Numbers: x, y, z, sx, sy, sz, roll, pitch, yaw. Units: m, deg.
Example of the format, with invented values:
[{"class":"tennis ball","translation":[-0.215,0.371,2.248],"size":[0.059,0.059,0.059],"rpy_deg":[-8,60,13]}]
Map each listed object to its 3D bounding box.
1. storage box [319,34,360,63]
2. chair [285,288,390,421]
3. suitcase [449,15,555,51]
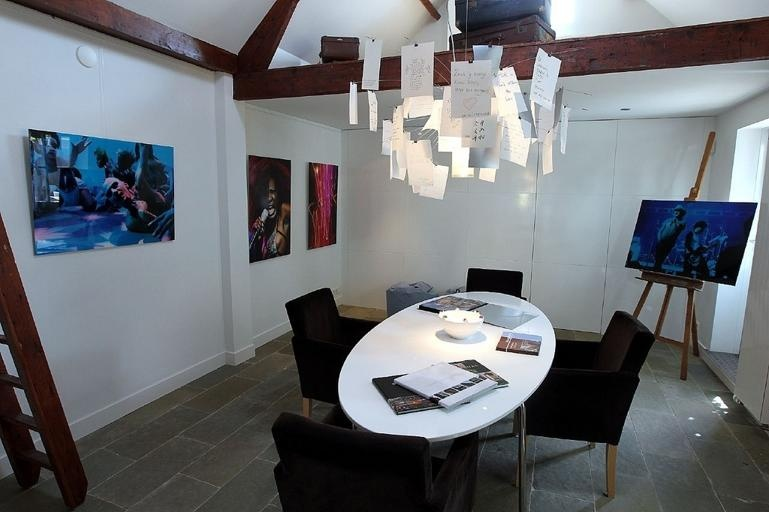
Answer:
[{"class":"storage box","translation":[-0.457,-2.081,4.839],"size":[0.296,0.273,0.403],"rpy_deg":[1,19,3]},{"class":"chair","translation":[-0.516,0.676,4.602],"size":[0.987,1.427,0.978],"rpy_deg":[5,15,23]},{"class":"suitcase","translation":[1.111,-2.097,4.550],"size":[0.706,0.168,0.699],"rpy_deg":[-20,25,-40]}]
